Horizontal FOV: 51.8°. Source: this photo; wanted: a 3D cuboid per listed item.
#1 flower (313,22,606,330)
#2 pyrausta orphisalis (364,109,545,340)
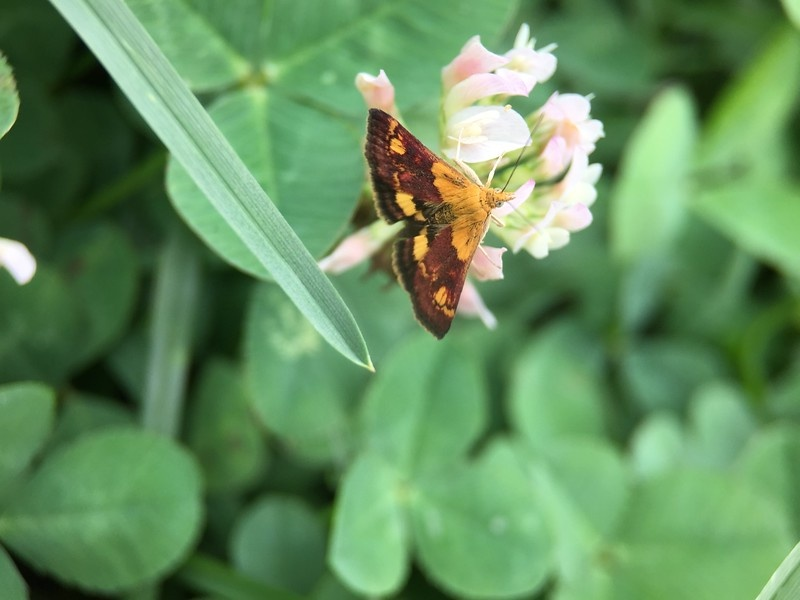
[{"bbox_3d":[0.084,-0.196,1.192,0.372,0.417,0.206,-19,11,24],"label":"flower"},{"bbox_3d":[0.044,-0.105,0.991,0.123,0.252,0.115,-18,24,-34],"label":"pyrausta orphisalis"}]
